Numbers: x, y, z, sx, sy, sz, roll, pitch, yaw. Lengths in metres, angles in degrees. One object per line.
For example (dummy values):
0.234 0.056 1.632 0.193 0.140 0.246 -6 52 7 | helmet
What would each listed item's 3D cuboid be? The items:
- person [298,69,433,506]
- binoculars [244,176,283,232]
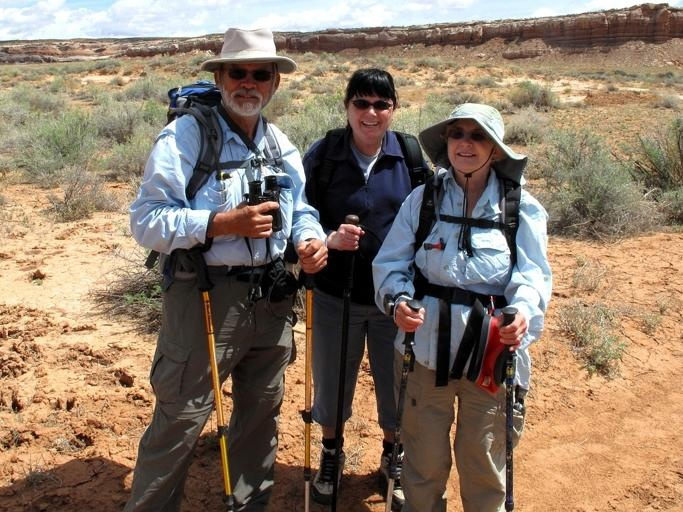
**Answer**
0.177 0.293 4.885 1.064 3.452 1.317 0 16 -14 | person
-0.519 -0.373 3.910 0.287 0.358 0.373 6 13 29 | binoculars
